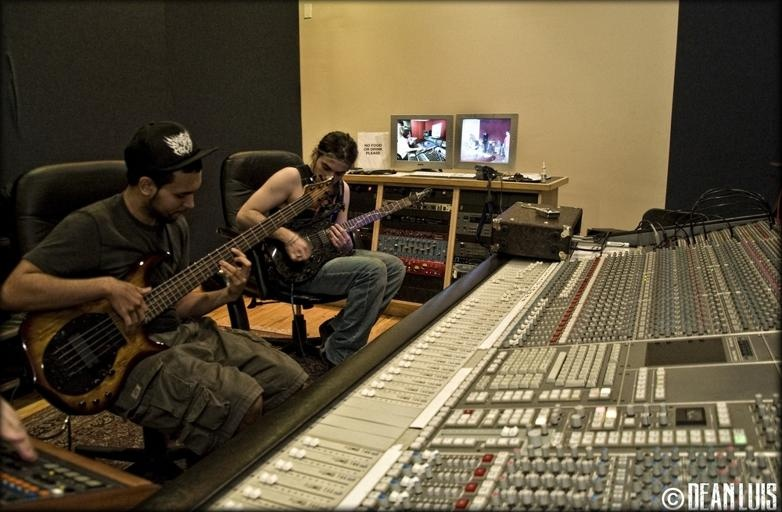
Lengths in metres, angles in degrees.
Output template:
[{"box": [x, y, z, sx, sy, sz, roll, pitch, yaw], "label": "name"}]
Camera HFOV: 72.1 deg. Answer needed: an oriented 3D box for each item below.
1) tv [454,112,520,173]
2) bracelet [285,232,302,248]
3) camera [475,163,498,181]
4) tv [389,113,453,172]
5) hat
[{"box": [0.826, -0.989, 4.666, 0.611, 0.491, 0.061, 4, 8, 20], "label": "tv"}, {"box": [-0.585, -0.106, 3.249, 0.080, 0.055, 0.081, 10, 22, 42], "label": "bracelet"}, {"box": [0.800, -0.704, 4.485, 0.143, 0.073, 0.192, 4, 7, -14], "label": "camera"}, {"box": [0.288, -1.041, 4.909, 0.578, 0.454, 0.197, 2, 7, 14], "label": "tv"}, {"box": [-0.953, -0.437, 2.296, 0.328, 0.128, 0.223, -6, 25, 15], "label": "hat"}]
